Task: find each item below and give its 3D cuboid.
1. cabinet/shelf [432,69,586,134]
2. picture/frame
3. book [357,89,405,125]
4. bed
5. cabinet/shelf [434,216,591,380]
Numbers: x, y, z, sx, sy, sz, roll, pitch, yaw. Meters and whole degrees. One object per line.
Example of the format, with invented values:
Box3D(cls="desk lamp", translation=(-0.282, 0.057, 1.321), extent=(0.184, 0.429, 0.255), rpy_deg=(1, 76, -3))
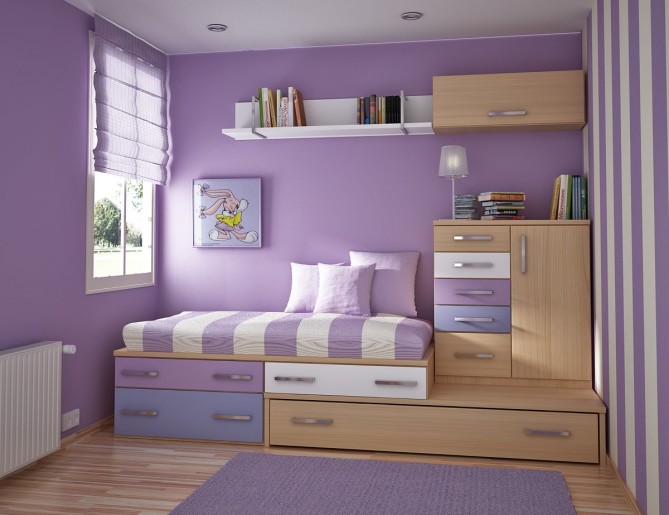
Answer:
Box3D(cls="cabinet/shelf", translation=(1.190, -1.141, 4.434), extent=(1.259, 0.363, 0.364), rpy_deg=(-7, 14, -19))
Box3D(cls="picture/frame", translation=(-0.869, -0.377, 4.982), extent=(0.708, 0.560, 0.014), rpy_deg=(2, 3, 30))
Box3D(cls="book", translation=(0.363, -1.129, 4.633), extent=(0.364, 0.232, 0.244), rpy_deg=(1, 9, 14))
Box3D(cls="bed", translation=(-0.381, 0.512, 4.084), extent=(1.558, 0.173, 0.666), rpy_deg=(0, 1, 13))
Box3D(cls="cabinet/shelf", translation=(1.250, 0.275, 4.100), extent=(1.396, 1.082, 0.474), rpy_deg=(0, -3, 9))
